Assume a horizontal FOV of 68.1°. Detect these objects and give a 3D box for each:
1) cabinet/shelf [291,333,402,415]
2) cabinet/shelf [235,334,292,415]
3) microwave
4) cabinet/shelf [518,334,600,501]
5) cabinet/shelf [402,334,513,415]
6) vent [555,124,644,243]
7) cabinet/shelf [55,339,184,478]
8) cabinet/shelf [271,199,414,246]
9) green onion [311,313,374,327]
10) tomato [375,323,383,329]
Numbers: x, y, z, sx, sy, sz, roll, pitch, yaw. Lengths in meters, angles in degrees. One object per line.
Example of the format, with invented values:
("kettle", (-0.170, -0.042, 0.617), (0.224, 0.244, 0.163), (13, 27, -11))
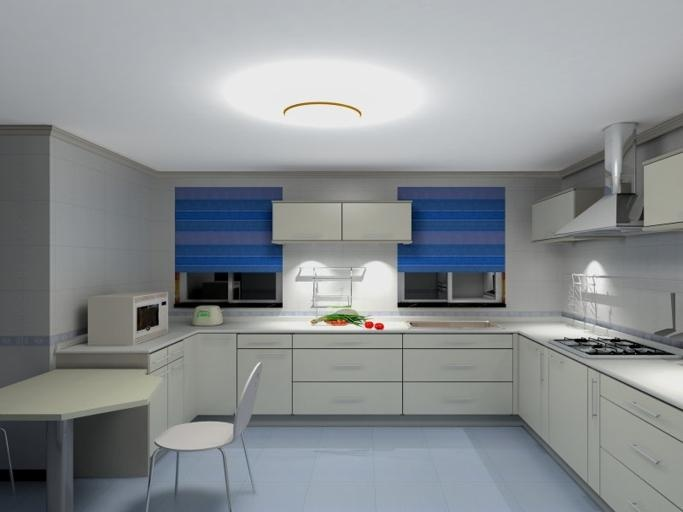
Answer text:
("cabinet/shelf", (0.093, 1.210, 5.144), (1.125, 0.747, 0.626), (-2, -10, 6))
("cabinet/shelf", (-0.768, 1.178, 5.083), (0.552, 0.768, 0.499), (2, -3, -10))
("microwave", (-1.898, 0.553, 4.538), (0.381, 0.427, 0.688), (-1, -1, 3))
("cabinet/shelf", (1.763, 1.239, 4.176), (0.657, 0.758, 1.162), (1, 2, 4))
("cabinet/shelf", (1.135, 1.143, 5.120), (1.093, 0.787, 0.590), (0, 3, 2))
("vent", (2.108, -0.670, 4.076), (0.712, 0.801, 0.641), (10, 13, 34))
("cabinet/shelf", (-1.891, 1.291, 4.419), (0.862, 1.009, 1.486), (-1, 0, -6))
("cabinet/shelf", (0.010, -0.337, 5.217), (1.437, 0.407, 0.180), (0, 2, 3))
("green onion", (0.006, 0.649, 5.126), (0.592, 0.143, 0.215), (0, -7, 4))
("tomato", (0.370, 0.687, 4.939), (0.054, 0.063, 0.054), (-5, -6, 44))
